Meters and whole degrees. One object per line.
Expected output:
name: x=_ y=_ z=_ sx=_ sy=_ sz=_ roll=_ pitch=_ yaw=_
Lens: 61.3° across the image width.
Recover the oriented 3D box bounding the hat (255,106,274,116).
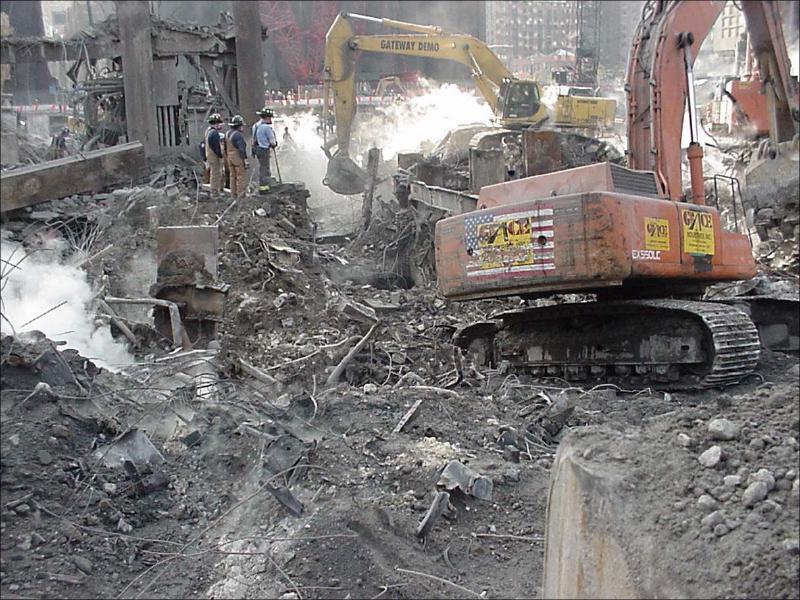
hat: x=-2.587 y=-3.641 z=13.077 sx=0.186 sy=0.144 sz=0.504 roll=-6 pitch=18 yaw=-19

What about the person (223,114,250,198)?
person: x=-3.046 y=-2.678 z=12.558 sx=0.345 sy=1.382 sz=1.101 roll=-4 pitch=17 yaw=-15

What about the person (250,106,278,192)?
person: x=-2.820 y=-3.197 z=14.008 sx=0.473 sy=1.558 sz=2.149 roll=-3 pitch=17 yaw=-11
